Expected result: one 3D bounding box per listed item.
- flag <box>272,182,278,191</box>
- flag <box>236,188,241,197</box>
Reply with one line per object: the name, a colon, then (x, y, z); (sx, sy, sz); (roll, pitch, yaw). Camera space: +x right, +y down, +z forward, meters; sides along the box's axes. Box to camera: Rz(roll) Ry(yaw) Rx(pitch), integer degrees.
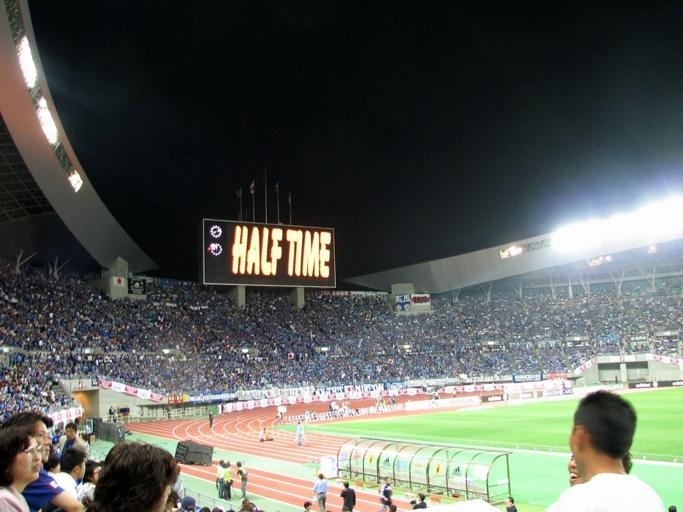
flag: (-4.946, -5.189, 38.793); (0.483, 0.073, 0.684); (3, -56, -6)
flag: (-7.796, -4.891, 39.963); (0.410, 0.448, 0.379); (6, -11, -24)
